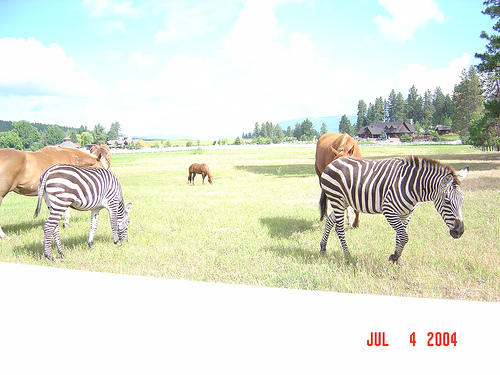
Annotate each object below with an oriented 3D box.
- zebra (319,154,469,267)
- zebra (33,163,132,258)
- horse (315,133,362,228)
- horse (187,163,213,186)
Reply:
[{"bbox_3d":[3.746,0.771,12.006,4.263,3.623,1.299,9,9,38],"label":"zebra"},{"bbox_3d":[-5.030,0.679,13.159,0.896,2.872,3.652,1,-1,30],"label":"zebra"},{"bbox_3d":[3.525,-0.764,16.775,1.194,2.810,5.070,-8,-2,20],"label":"horse"},{"bbox_3d":[-3.244,-0.889,27.199,1.209,1.385,2.262,-3,9,-37],"label":"horse"}]
